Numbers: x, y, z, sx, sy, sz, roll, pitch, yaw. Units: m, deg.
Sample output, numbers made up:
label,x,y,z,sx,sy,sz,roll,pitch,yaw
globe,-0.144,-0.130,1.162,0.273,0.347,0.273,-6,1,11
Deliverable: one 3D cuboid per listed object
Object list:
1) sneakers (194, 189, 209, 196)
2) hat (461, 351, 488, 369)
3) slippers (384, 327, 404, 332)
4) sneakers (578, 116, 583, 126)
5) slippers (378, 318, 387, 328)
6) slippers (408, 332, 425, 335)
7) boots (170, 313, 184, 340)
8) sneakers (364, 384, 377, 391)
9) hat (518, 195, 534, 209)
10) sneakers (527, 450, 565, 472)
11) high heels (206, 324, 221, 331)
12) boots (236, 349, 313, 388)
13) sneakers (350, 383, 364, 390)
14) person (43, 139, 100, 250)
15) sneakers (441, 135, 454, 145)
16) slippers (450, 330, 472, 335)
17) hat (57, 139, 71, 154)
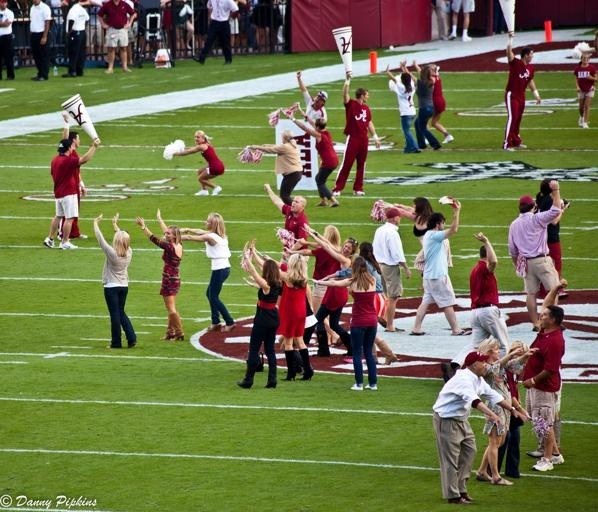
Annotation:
label,x,y,z,sx,sy,sz,roll,pitch,yaw
sneakers,-2.074,-1.346,32.962,0.302,0.138,0.116,4,13,10
hat,1.962,1.159,17.236,0.250,0.216,0.249,2,14,11
slippers,1.459,1.121,23.530,0.248,0.063,0.092,-1,-1,-5
sneakers,7.311,-3.501,40.350,0.100,0.119,0.283,2,42,5
slippers,1.266,1.011,23.651,0.144,0.158,0.129,4,-3,39
slippers,1.748,1.160,23.275,0.201,0.050,0.071,-2,2,9
boots,-1.796,1.030,23.028,0.127,0.436,0.273,5,15,20
sneakers,0.964,1.728,20.552,0.065,0.076,0.172,-2,8,-18
hat,3.354,-0.774,22.833,0.173,0.129,0.233,5,26,21
sneakers,2.857,2.370,18.032,0.412,0.180,0.152,-8,13,-17
high heels,-1.286,1.092,23.460,0.217,0.087,0.075,-9,31,16
boots,-0.323,1.517,21.021,1.330,0.550,0.394,-1,2,-31
sneakers,0.762,1.717,20.590,0.147,0.089,0.073,11,15,36
person,-4.249,-1.118,28.433,0.916,2.078,1.057,-3,14,-9
sneakers,3.695,-2.882,38.424,0.141,0.178,0.387,-38,10,-17
slippers,2.418,1.136,23.155,0.220,0.064,0.110,-8,6,3
hat,-4.246,-1.980,28.128,0.273,0.235,0.424,11,-12,-1
